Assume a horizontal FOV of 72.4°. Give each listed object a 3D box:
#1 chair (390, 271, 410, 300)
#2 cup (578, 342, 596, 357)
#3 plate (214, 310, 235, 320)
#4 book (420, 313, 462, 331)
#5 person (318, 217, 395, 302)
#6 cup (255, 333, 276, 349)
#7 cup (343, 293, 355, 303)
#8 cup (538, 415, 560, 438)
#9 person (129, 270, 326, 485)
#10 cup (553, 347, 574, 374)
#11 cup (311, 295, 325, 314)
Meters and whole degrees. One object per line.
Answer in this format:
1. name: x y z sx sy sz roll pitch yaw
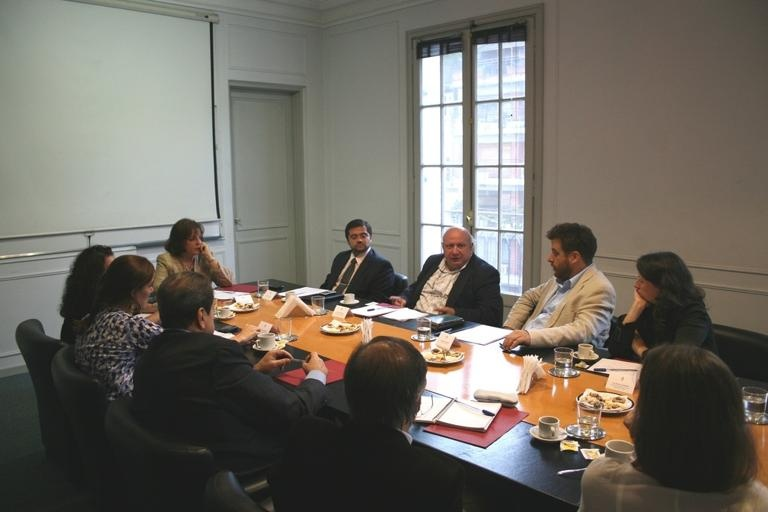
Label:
1. chair: 0.170 0.275 4.773 0.174 0.165 0.184 -7 -14 41
2. cup: 1.191 0.548 3.083 0.062 0.064 0.098 1 6 3
3. plate: -1.184 0.429 3.859 0.087 0.035 0.085 -1 4 4
4. book: 0.418 0.454 3.609 0.163 0.040 0.162 -8 13 -37
5. person: -0.252 0.009 5.386 0.822 0.770 0.465 5 -3 31
6. cup: -0.734 0.514 3.240 0.104 0.077 0.080 -7 14 -18
7. cup: -0.280 0.342 4.204 0.063 0.063 0.087 -1 -4 -1
8. cup: 0.733 0.764 2.340 0.065 0.065 0.105 2 15 13
9. person: -0.780 0.613 2.596 0.628 1.065 0.623 17 30 41
10. cup: 0.989 0.585 2.943 0.106 0.140 0.136 -3 2 -29
11. cup: -0.494 0.362 3.982 0.082 0.128 0.135 1 9 0
